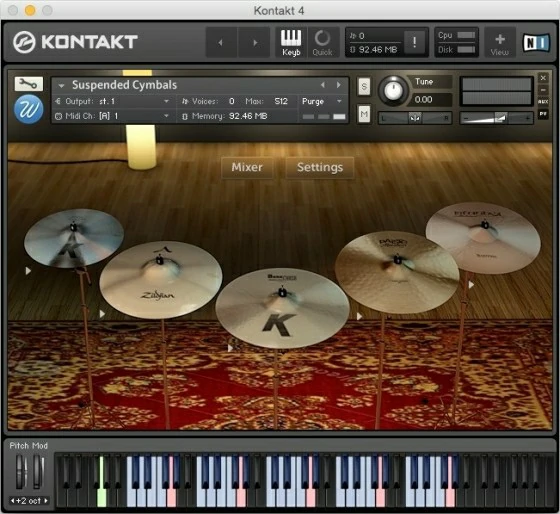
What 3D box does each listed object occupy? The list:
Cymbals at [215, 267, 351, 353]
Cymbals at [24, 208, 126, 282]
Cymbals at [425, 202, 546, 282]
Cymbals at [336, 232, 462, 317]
[{"bbox_3d":[0.001,0.105,1.096,0.260,0.038,0.206,-1,35,-3],"label":"Cymbals"},{"bbox_3d":[-0.570,-0.051,1.404,0.270,0.103,0.203,0,47,-4],"label":"Cymbals"},{"bbox_3d":[0.570,-0.064,1.431,0.306,0.248,0.040,-4,43,24],"label":"Cymbals"},{"bbox_3d":[0.273,0.042,1.214,0.273,0.041,0.219,9,39,9],"label":"Cymbals"}]
